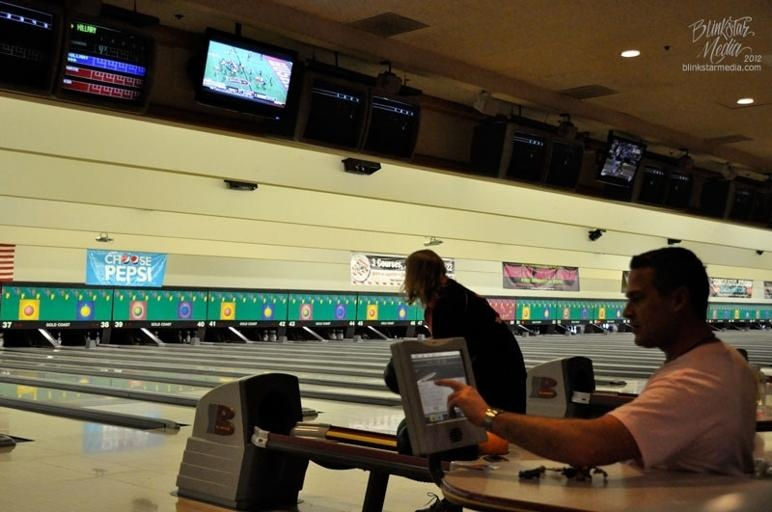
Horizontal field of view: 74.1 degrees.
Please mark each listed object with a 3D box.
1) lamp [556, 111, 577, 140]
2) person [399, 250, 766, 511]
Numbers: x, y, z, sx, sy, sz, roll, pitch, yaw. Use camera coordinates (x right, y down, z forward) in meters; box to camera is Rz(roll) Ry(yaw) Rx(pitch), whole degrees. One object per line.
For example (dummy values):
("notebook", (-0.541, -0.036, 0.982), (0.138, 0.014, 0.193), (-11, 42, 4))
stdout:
("lamp", (2.199, -1.592, 6.264), (0.295, 0.293, 0.169), (6, 17, 1))
("person", (0.666, 0.327, 1.636), (0.857, 0.596, 0.630), (-1, -6, 19))
